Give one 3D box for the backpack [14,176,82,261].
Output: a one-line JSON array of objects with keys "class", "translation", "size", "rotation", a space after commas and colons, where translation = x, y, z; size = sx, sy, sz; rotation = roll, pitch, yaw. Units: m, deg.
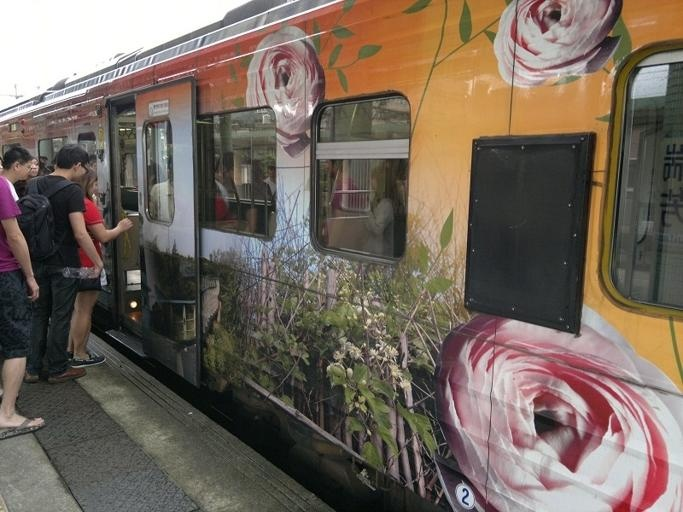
[{"class": "backpack", "translation": [-2.947, -0.367, 4.644], "size": [0.404, 0.801, 0.417], "rotation": [3, 8, 25]}]
